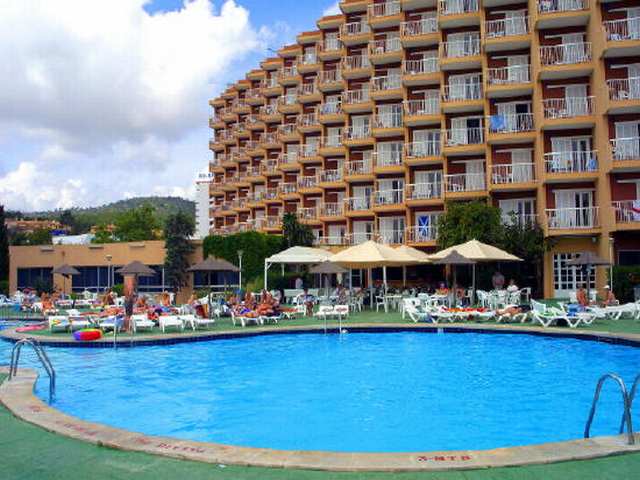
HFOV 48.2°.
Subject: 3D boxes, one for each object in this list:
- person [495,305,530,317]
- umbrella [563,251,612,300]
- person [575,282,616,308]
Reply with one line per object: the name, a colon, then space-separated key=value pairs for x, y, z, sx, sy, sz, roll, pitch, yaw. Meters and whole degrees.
person: x=8.095 y=3.031 z=30.180 sx=1.524 sy=0.447 sz=0.486 roll=-4 pitch=6 yaw=-39
umbrella: x=14.001 y=1.833 z=37.213 sx=2.445 sy=3.018 sz=2.570 roll=0 pitch=-5 yaw=-7
person: x=12.799 y=2.594 z=33.139 sx=2.758 sy=1.558 sz=0.805 roll=8 pitch=-10 yaw=-38
